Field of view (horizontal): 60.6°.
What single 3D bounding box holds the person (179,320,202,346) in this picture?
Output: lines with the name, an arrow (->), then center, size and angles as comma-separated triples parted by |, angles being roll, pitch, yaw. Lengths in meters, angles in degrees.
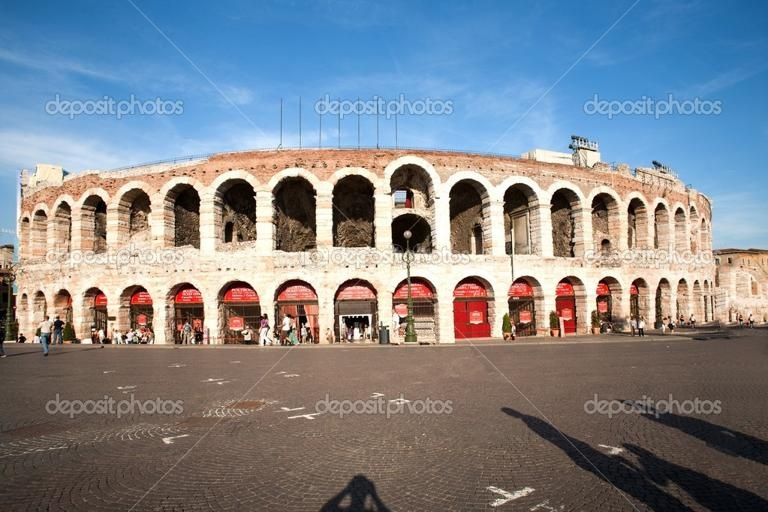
person -> -10.790, 4.369, 36.942 | 0.290, 1.379, 1.223 | -9, -8, 29

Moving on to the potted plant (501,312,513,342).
potted plant -> 6.967, 3.911, 36.798 | 0.553, 1.436, 1.524 | -3, -5, 10

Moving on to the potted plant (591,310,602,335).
potted plant -> 12.660, 3.920, 39.106 | 0.449, 1.415, 0.929 | -6, -6, 37

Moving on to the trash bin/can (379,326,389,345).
trash bin/can -> 0.064, 4.093, 33.996 | 0.522, 0.889, 0.966 | -2, -5, -1

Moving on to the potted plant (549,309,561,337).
potted plant -> 9.930, 3.910, 37.906 | 0.623, 1.424, 0.823 | -3, -5, 9
